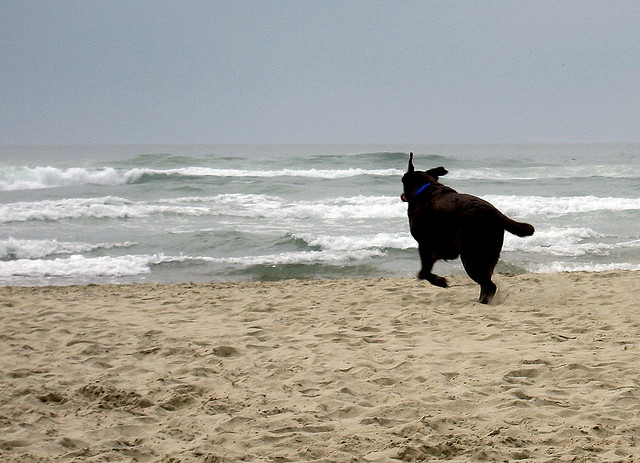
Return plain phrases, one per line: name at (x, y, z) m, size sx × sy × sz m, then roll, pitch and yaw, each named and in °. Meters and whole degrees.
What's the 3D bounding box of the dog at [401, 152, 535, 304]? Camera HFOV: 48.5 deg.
dog at (2.108, -0.082, 10.607) m, size 0.919 × 2.026 × 1.672 m, roll -13°, pitch 13°, yaw -34°
